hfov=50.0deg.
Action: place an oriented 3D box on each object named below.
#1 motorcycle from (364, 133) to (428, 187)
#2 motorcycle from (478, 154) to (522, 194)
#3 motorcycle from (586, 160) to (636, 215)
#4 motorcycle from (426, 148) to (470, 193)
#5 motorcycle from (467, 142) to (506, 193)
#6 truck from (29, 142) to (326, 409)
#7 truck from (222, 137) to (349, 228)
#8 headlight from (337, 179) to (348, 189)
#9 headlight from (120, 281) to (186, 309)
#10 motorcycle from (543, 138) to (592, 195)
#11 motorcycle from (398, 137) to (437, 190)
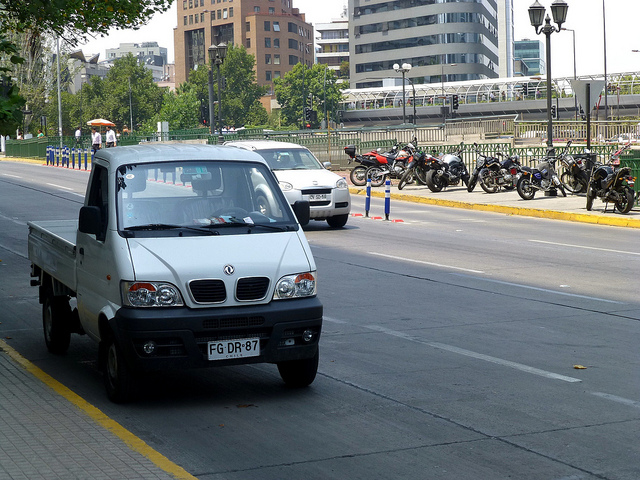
[{"bbox_3d":[3.193,-3.179,29.814,2.898,1.806,1.454,-17,22,-14],"label":"motorcycle"},{"bbox_3d":[7.111,-2.547,27.079,1.951,1.191,0.983,-14,7,-40],"label":"motorcycle"},{"bbox_3d":[8.800,-1.542,20.877,1.328,1.473,1.006,4,9,31],"label":"motorcycle"},{"bbox_3d":[5.359,-2.797,28.797,2.105,1.556,0.704,-5,9,-31],"label":"motorcycle"},{"bbox_3d":[6.671,-2.863,27.762,1.085,1.677,1.141,-2,14,-13],"label":"motorcycle"},{"bbox_3d":[-1.717,0.162,7.602,1.828,1.896,3.818,0,2,-22],"label":"truck"},{"bbox_3d":[-0.051,-1.612,18.121,1.931,1.866,3.838,-3,7,-29],"label":"truck"},{"bbox_3d":[0.599,-1.531,18.816,0.233,0.266,0.642,1,8,9],"label":"headlight"},{"bbox_3d":[-1.459,0.474,5.937,0.563,0.232,0.102,1,7,9],"label":"headlight"},{"bbox_3d":[9.178,-2.665,24.993,1.094,1.912,2.146,2,8,16],"label":"motorcycle"},{"bbox_3d":[4.126,-3.279,29.894,1.121,1.342,2.141,21,17,20],"label":"motorcycle"}]
